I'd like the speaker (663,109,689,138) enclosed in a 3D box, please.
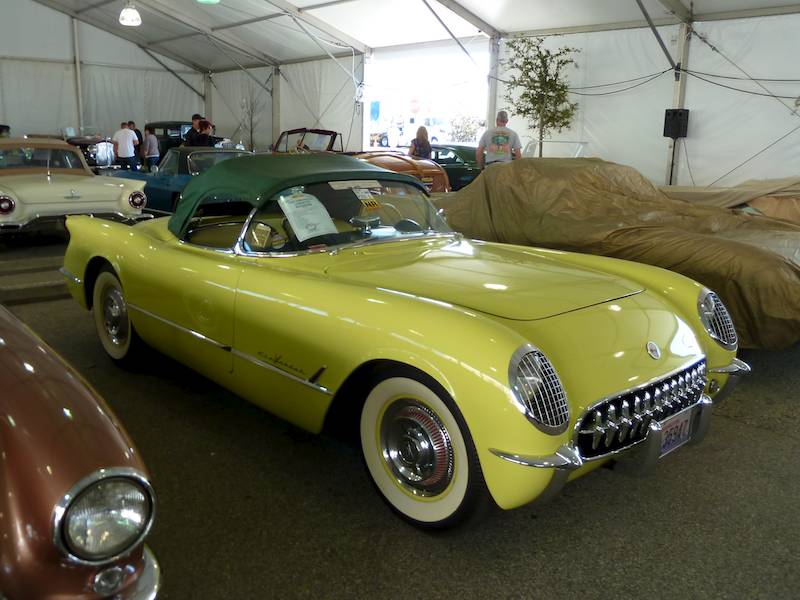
[{"bbox_3d":[5.841,-3.573,10.855,0.473,0.683,0.365,6,16,26],"label":"speaker"}]

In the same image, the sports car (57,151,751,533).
[{"bbox_3d":[-0.191,0.017,2.769,3.268,1.463,1.145,11,20,32],"label":"sports car"}]
